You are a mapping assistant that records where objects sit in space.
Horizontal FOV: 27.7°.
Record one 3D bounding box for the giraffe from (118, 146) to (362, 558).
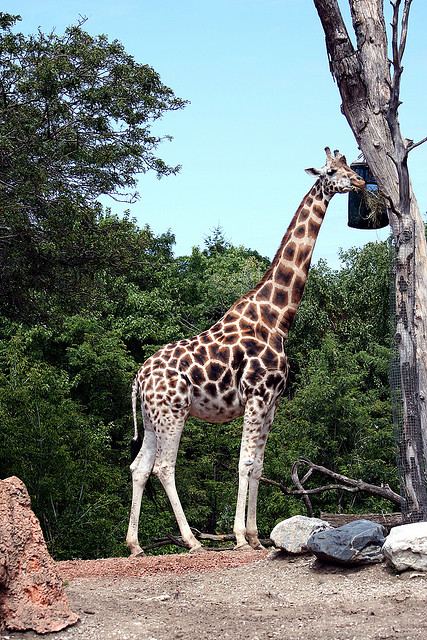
[{"bbox_3d":[0.217,0.343,9.730,2.831,4.447,0.940,-6,-6,-9],"label":"giraffe"}]
